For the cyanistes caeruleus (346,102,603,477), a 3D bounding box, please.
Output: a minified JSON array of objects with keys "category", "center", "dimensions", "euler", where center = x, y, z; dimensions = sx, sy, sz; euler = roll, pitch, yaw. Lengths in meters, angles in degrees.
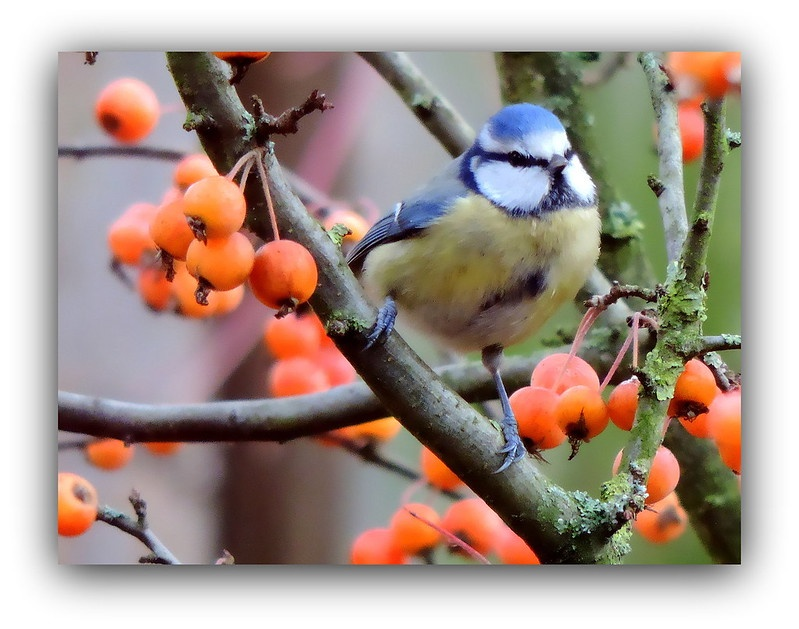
[{"category":"cyanistes caeruleus","center":[0.133,-0.118,2.070],"dimensions":[0.399,0.698,0.690],"euler":[8,5,-19]}]
